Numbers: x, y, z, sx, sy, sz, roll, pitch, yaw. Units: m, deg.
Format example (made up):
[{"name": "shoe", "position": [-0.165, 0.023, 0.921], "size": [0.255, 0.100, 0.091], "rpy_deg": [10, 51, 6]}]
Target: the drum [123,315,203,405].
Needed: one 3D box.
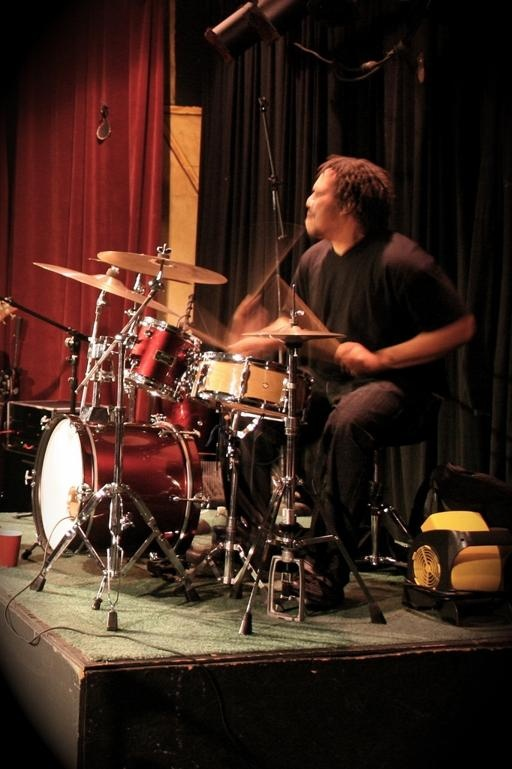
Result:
[{"name": "drum", "position": [-0.311, -0.058, 2.729], "size": [0.291, 0.278, 0.293], "rpy_deg": [20, -9, -1]}]

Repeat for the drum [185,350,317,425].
[{"name": "drum", "position": [-0.061, 0.000, 2.135], "size": [0.168, 0.190, 0.383], "rpy_deg": [4, -3, -38]}]

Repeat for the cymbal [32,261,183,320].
[{"name": "cymbal", "position": [-0.857, -0.501, 3.838], "size": [0.527, 0.116, 0.512], "rpy_deg": [28, -5, -40]}]

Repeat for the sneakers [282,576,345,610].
[{"name": "sneakers", "position": [0.170, 0.558, 2.000], "size": [0.094, 0.047, 0.128], "rpy_deg": [13, 0, -36]}]

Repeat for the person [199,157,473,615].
[{"name": "person", "position": [0.296, -0.096, 2.332], "size": [0.723, 1.463, 0.871], "rpy_deg": [2, -2, -13]}]

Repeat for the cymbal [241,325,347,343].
[{"name": "cymbal", "position": [0.094, -0.133, 1.901], "size": [0.236, 0.050, 0.171], "rpy_deg": [2, -3, -2]}]

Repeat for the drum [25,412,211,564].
[{"name": "drum", "position": [-0.472, 0.330, 2.520], "size": [0.496, 0.549, 0.515], "rpy_deg": [8, -9, -30]}]
